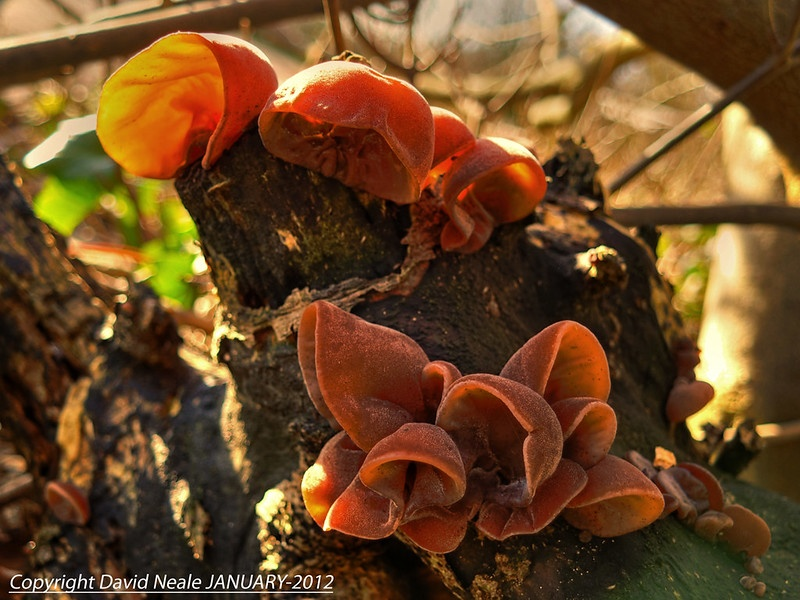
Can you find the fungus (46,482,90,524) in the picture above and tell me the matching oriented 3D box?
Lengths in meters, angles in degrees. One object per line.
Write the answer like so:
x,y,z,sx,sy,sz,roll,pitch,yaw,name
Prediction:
-2.173,1.316,5.324,0.269,0.293,0.084,32,48,18,fungus
